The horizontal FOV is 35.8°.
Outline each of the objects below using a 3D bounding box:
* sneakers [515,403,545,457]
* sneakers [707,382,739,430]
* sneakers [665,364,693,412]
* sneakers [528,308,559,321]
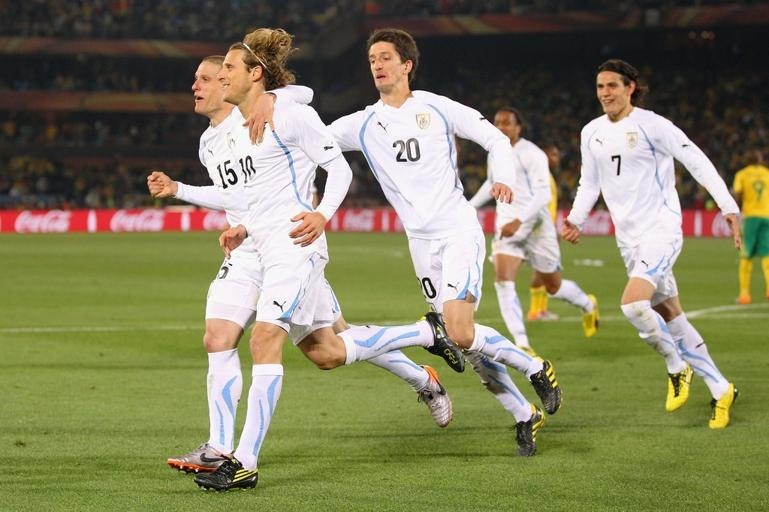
[{"bbox_3d":[1.395,1.679,11.293,0.191,0.548,0.286,-3,-14,45],"label":"sneakers"},{"bbox_3d":[3.351,1.529,11.777,0.235,0.524,0.192,21,-18,-5],"label":"sneakers"},{"bbox_3d":[2.960,1.376,12.050,0.232,0.547,0.196,23,-20,-19],"label":"sneakers"},{"bbox_3d":[2.130,0.787,16.006,0.457,0.194,0.154,-1,2,-10],"label":"sneakers"}]
